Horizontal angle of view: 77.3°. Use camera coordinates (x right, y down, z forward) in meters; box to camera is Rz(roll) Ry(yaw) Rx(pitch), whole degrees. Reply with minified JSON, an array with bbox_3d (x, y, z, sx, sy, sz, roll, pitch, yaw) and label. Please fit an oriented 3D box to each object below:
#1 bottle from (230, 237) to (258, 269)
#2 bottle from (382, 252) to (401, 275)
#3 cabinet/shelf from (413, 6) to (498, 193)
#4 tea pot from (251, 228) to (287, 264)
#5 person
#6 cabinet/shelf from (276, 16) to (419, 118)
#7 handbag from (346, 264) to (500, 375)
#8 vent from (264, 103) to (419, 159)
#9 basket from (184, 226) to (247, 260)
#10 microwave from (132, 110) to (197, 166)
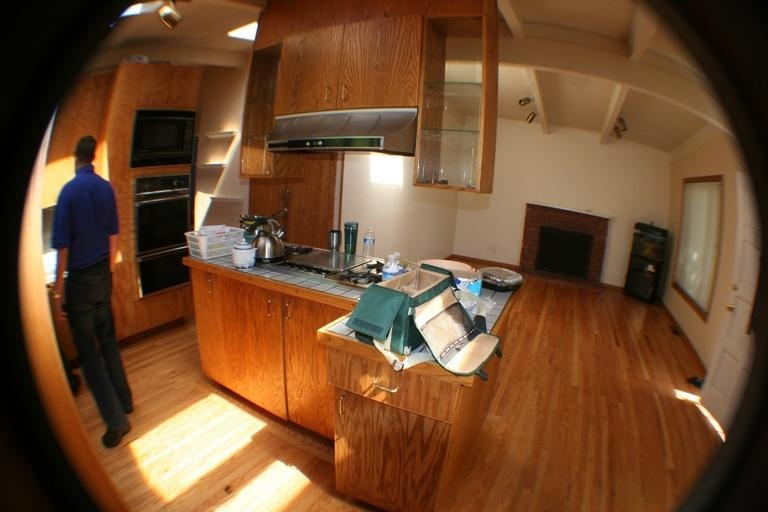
[{"bbox_3d":[-0.738,-0.012,2.621,0.115,0.163,0.149,0,-3,4],"label":"bottle"},{"bbox_3d":[0.050,0.036,2.504,0.098,0.184,0.106,2,2,0],"label":"bottle"},{"bbox_3d":[0.391,-0.814,2.511,0.408,0.934,0.316,7,9,22],"label":"cabinet/shelf"},{"bbox_3d":[-0.649,-0.059,2.700,0.129,0.206,0.200,0,-1,37],"label":"tea pot"},{"bbox_3d":[-1.407,0.164,2.355,0.300,1.439,0.595,-1,9,-28],"label":"person"},{"bbox_3d":[-0.181,-1.062,2.710,0.709,0.361,0.139,6,-2,34],"label":"cabinet/shelf"},{"bbox_3d":[0.164,0.256,1.811,0.424,0.219,0.473,19,31,36],"label":"handbag"},{"bbox_3d":[-0.263,-0.719,2.741,0.975,0.241,0.273,9,10,35],"label":"vent"},{"bbox_3d":[-0.998,-0.110,2.850,0.195,0.145,0.295,10,14,29],"label":"basket"},{"bbox_3d":[-1.547,-0.824,3.341,0.211,0.287,0.416,13,11,11],"label":"microwave"}]
